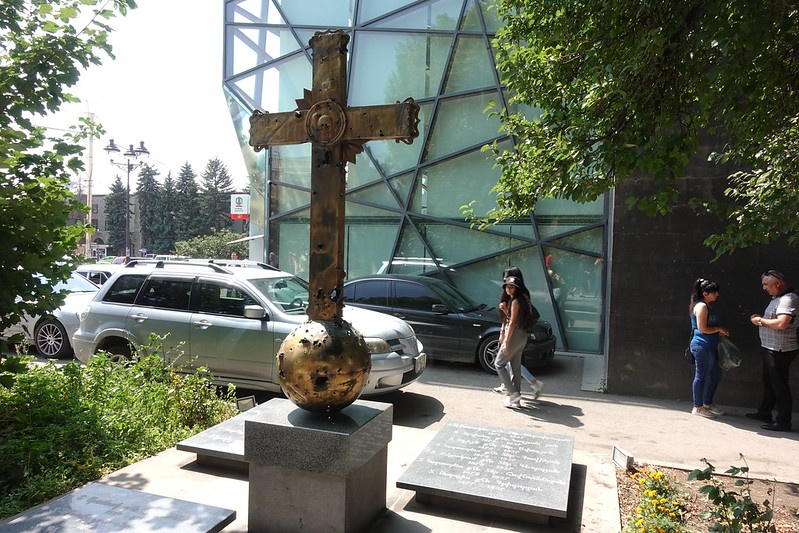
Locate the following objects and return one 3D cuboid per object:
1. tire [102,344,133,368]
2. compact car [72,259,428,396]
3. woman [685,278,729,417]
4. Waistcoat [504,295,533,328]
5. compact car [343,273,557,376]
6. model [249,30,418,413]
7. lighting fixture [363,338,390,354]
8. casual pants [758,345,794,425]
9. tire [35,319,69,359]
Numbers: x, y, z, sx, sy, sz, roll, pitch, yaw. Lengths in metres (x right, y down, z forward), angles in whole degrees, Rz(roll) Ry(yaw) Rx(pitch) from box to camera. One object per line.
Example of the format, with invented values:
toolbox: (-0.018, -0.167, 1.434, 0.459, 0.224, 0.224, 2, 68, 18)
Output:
tire: (-4.466, 1.392, 8.791, 0.451, 0.440, 0.159, -1, -2, 2)
compact car: (-2.582, 0.794, 9.732, 5.525, 2.007, 2.533, 2, 2, 12)
woman: (5.160, 1.360, 9.341, 0.567, 2.278, 0.572, -1, 3, 4)
Waistcoat: (1.975, 0.735, 9.279, 0.503, 0.669, 0.394, -2, 12, 21)
compact car: (1.026, 1.091, 12.216, 4.715, 1.507, 1.999, 2, 4, 14)
model: (-0.642, -0.415, 5.232, 1.529, 3.554, 0.577, -1, 3, 0)
lighting fixture: (-0.347, 1.207, 8.581, 0.530, 0.167, 0.370, 1, -2, 0)
casual pants: (6.104, 1.918, 8.996, 0.339, 1.219, 0.498, -1, 3, -7)
tire: (-7.285, 1.483, 11.654, 0.810, 0.795, 0.287, -25, -12, 12)
